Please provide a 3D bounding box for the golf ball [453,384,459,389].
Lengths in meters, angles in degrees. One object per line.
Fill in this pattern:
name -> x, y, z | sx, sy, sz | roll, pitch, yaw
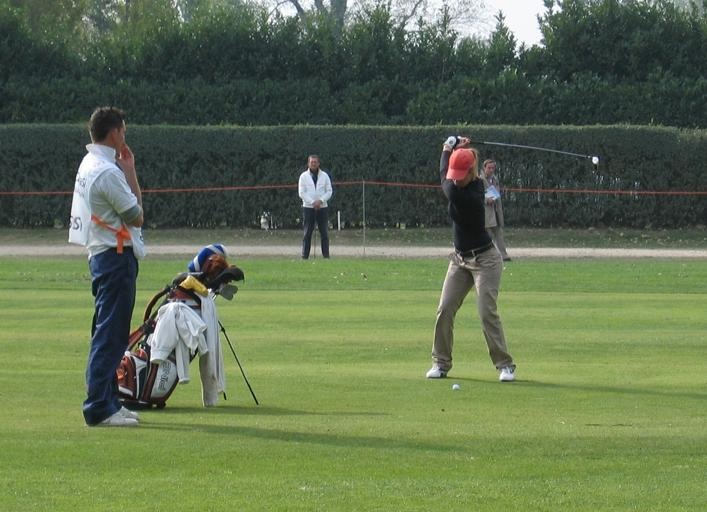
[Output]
golf ball -> 2.072, 2.628, 33.640 | 0.092, 0.068, 0.093 | -6, 10, 1

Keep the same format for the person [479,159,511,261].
person -> 3.832, -1.177, 44.352 | 1.042, 3.044, 0.891 | -1, 10, -6

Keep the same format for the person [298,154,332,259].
person -> -1.011, -1.235, 45.711 | 0.889, 2.751, 1.302 | -3, 2, -3

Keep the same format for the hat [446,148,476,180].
hat -> 2.209, -1.783, 34.222 | 0.615, 0.637, 0.257 | -3, 2, 0
